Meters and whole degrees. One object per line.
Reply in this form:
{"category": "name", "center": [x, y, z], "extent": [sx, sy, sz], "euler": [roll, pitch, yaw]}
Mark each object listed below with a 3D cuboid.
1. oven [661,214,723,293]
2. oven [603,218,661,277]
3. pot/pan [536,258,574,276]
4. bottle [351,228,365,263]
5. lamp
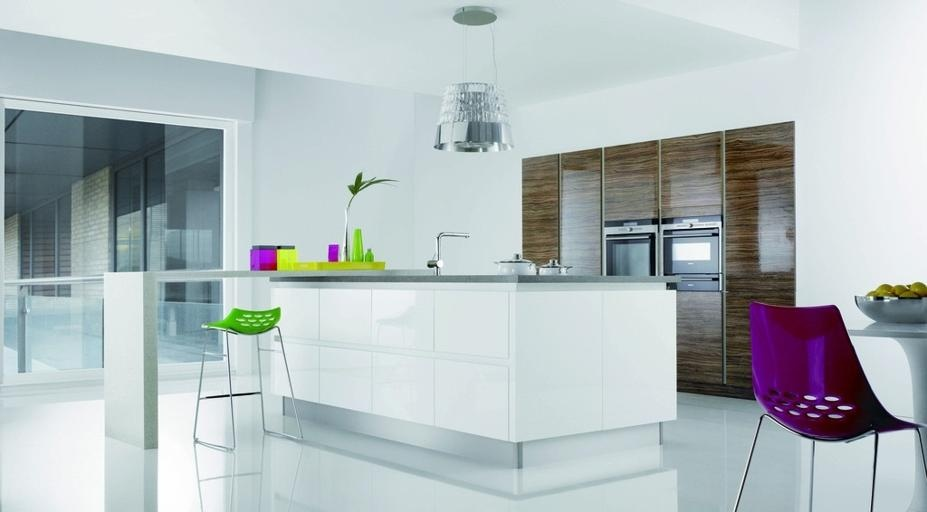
{"category": "oven", "center": [3.151, -0.011, 8.074], "extent": [0.945, 0.934, 0.933], "euler": [0, 0, -21]}
{"category": "oven", "center": [2.338, -0.015, 8.490], "extent": [0.824, 0.812, 0.701], "euler": [-1, -8, 14]}
{"category": "pot/pan", "center": [0.966, 0.133, 6.272], "extent": [0.416, 0.143, 0.303], "euler": [1, -3, -35]}
{"category": "bottle", "center": [-1.165, -0.122, 6.932], "extent": [0.130, 0.347, 0.311], "euler": [-1, 5, -10]}
{"category": "lamp", "center": [0.076, -1.872, 6.742], "extent": [0.756, 1.511, 1.283], "euler": [-1, 5, -2]}
